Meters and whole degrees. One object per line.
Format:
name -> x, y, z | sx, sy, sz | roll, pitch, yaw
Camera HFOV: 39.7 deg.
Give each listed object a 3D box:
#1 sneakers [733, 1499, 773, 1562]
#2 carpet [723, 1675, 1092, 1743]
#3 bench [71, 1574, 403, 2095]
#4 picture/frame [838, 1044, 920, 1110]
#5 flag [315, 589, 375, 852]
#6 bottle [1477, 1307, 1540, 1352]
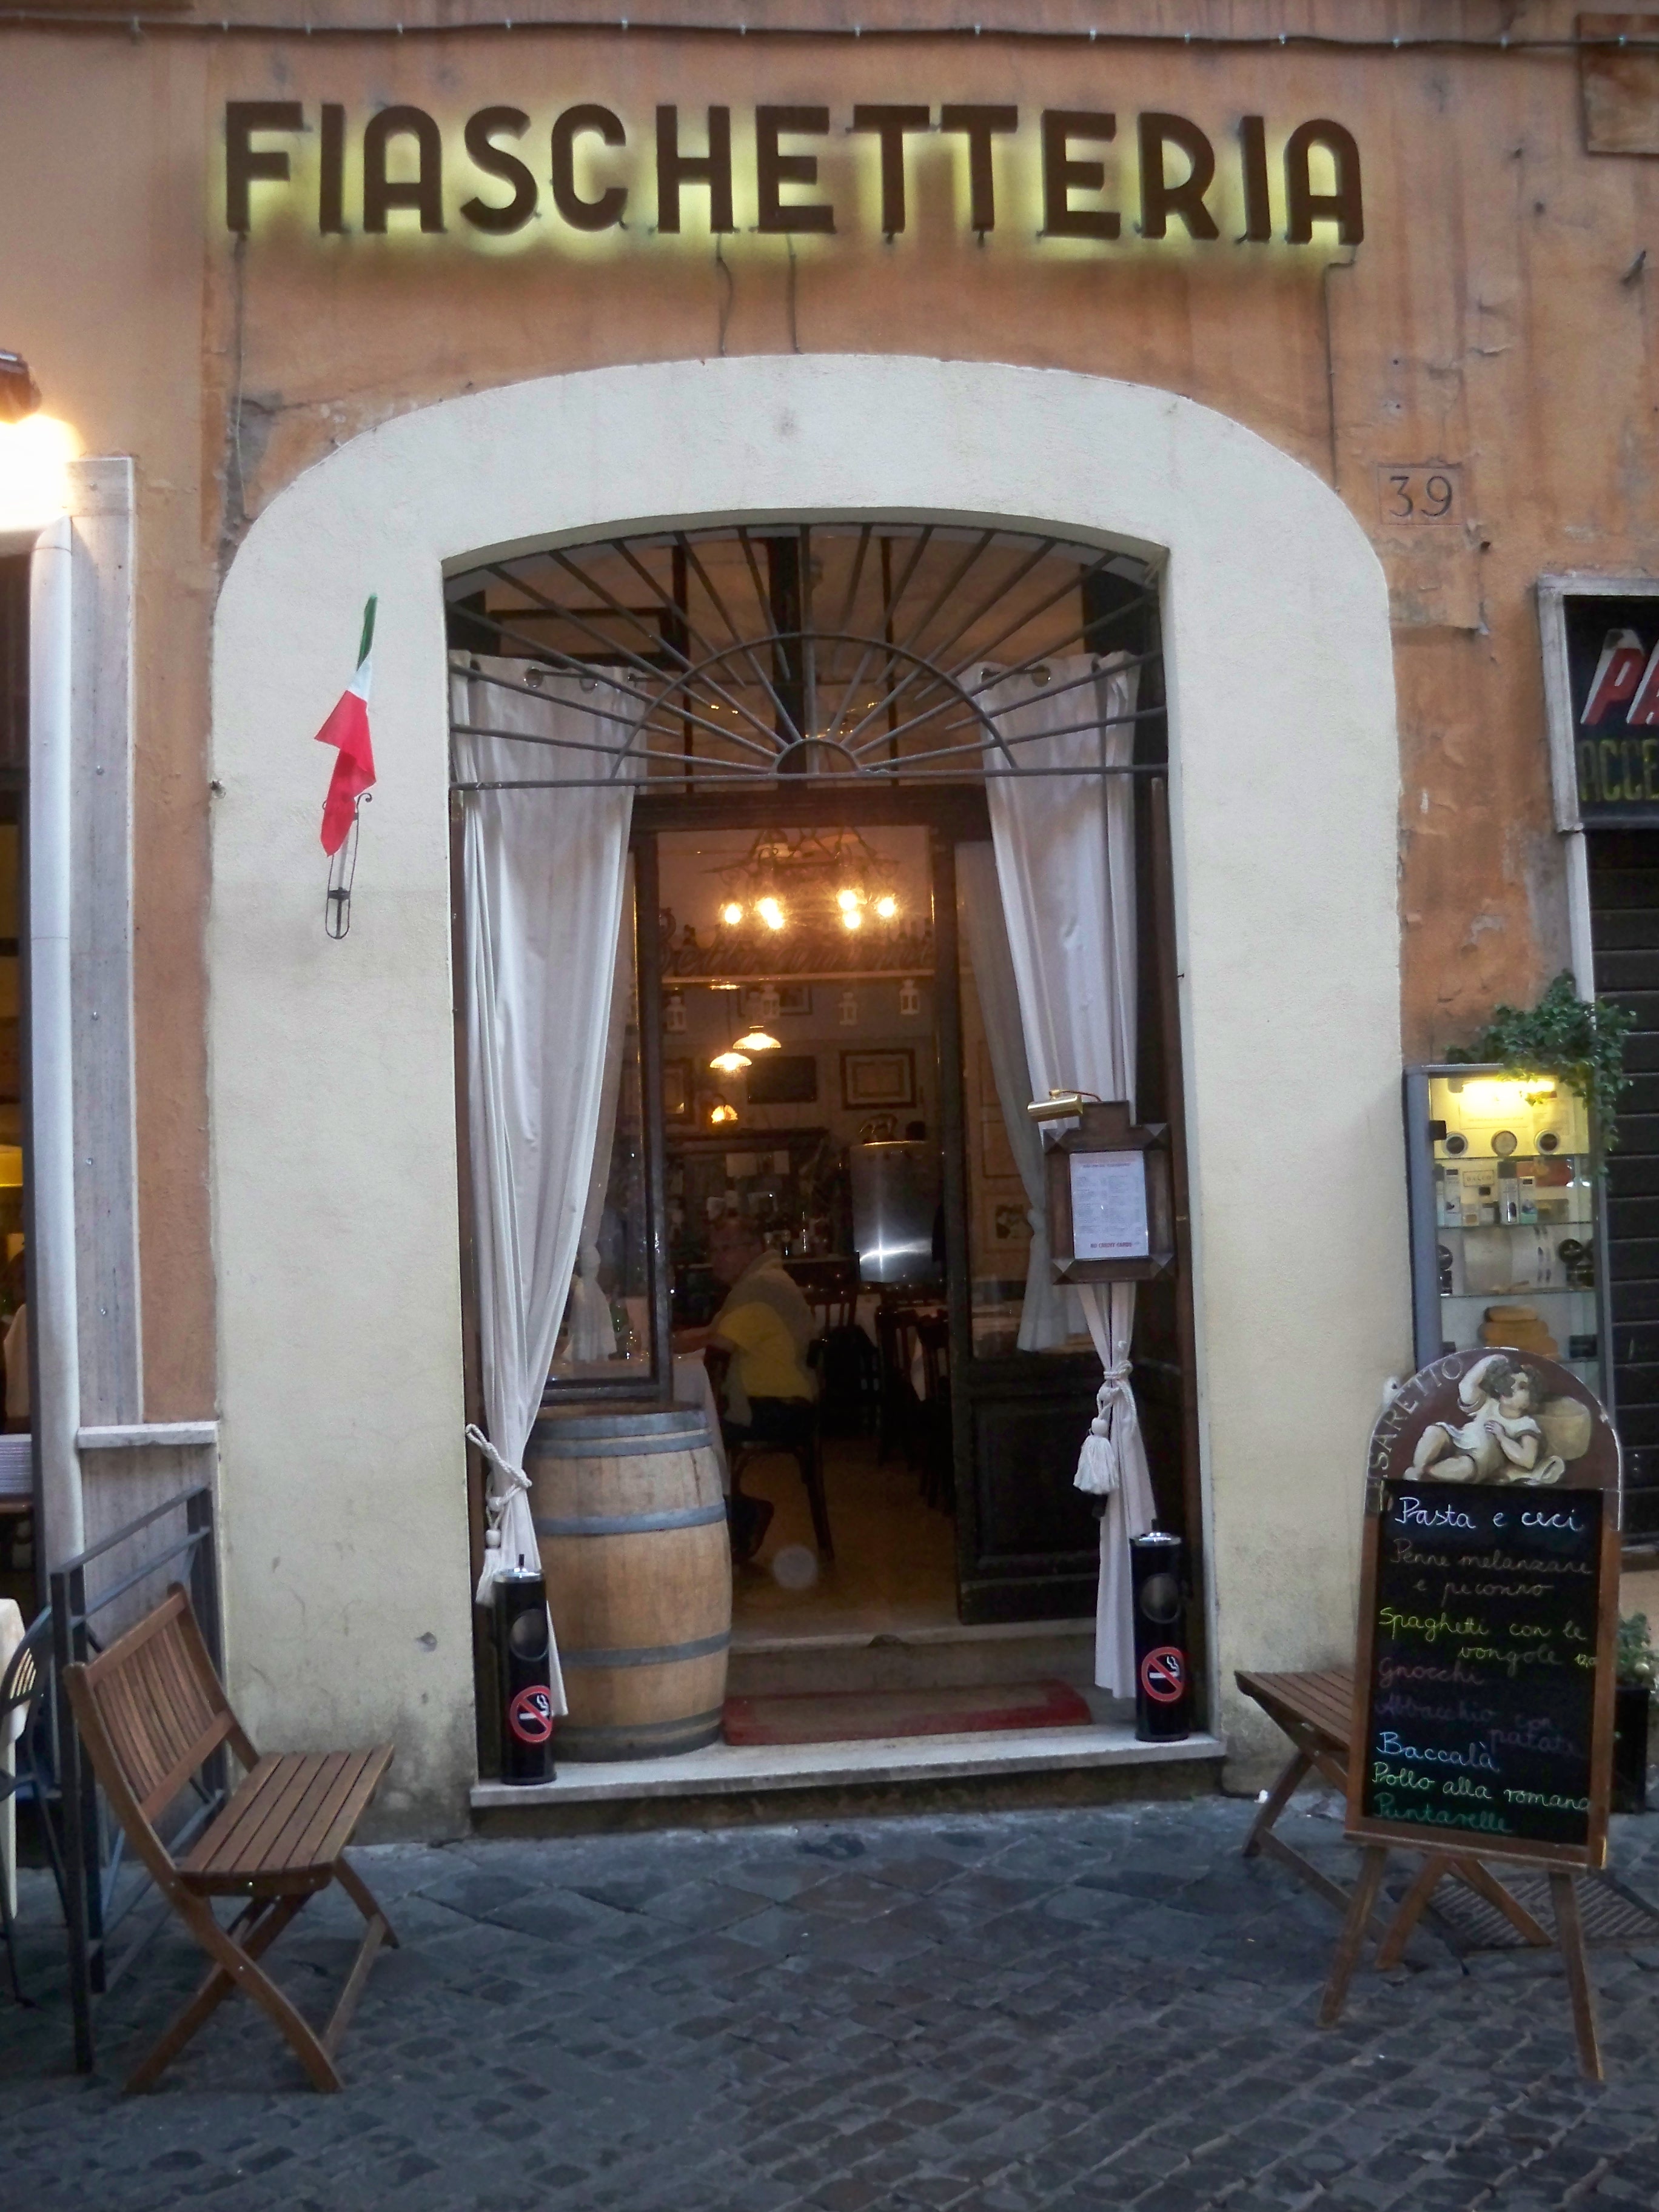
sneakers -> -0.244, 1.425, 7.742 | 0.054, 0.204, 0.147 | 9, -2, -43
carpet -> 0.203, 1.662, 6.289 | 0.980, 0.076, 0.664 | -1, 3, -6
bench -> -1.237, 1.506, 4.687 | 0.419, 0.681, 0.929 | -7, -1, -7
picture/frame -> 0.279, -0.190, 13.497 | 0.386, 0.313, 0.030 | 1, 5, 1
flag -> -1.174, -0.948, 5.565 | 0.166, 0.652, 0.462 | -2, 3, -11
bottle -> 1.782, 0.575, 5.976 | 0.177, 0.116, 0.074 | -2, 3, -13
